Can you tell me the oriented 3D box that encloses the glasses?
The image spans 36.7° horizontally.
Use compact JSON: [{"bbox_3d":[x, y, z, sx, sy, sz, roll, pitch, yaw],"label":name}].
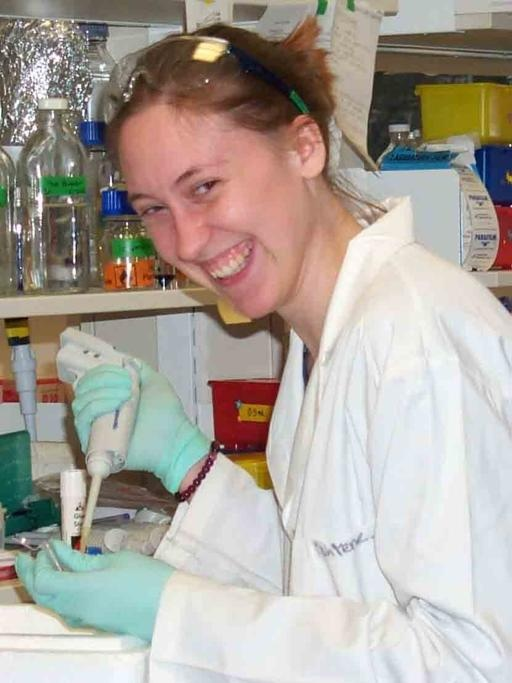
[{"bbox_3d":[-0.044,-0.362,1.039,0.163,0.046,0.160,30,-9,-33],"label":"glasses"}]
